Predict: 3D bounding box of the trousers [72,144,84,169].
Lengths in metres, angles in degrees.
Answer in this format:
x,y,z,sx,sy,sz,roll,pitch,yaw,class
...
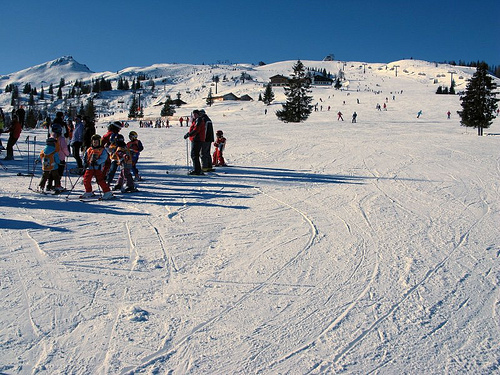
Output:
x,y,z,sx,sy,sz,roll,pitch,yaw,class
-5.663,-1.008,15.586,0.222,0.843,0.720,-3,-11,-1,trousers

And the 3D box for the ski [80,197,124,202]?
x,y,z,sx,sy,sz,roll,pitch,yaw,class
-3.336,0.295,10.642,0.865,0.034,0.249,-6,12,-32,ski

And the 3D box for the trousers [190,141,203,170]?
x,y,z,sx,sy,sz,roll,pitch,yaw,class
-1.653,-1.004,14.820,0.373,0.897,0.405,-2,10,-15,trousers

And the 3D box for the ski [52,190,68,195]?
x,y,z,sx,sy,sz,roll,pitch,yaw,class
-4.545,0.144,11.339,0.134,0.024,0.558,2,11,9,ski

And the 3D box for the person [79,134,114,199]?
x,y,z,sx,sy,sz,roll,pitch,yaw,class
-3.595,-0.478,10.965,0.748,1.415,0.939,-3,10,-21,person

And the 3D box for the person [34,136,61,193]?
x,y,z,sx,sy,sz,roll,pitch,yaw,class
-4.812,-0.585,11.378,0.559,1.337,0.431,4,21,-14,person

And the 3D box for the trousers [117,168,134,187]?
x,y,z,sx,sy,sz,roll,pitch,yaw,class
-3.136,-0.267,11.883,0.433,0.460,0.272,9,13,41,trousers

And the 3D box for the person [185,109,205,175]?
x,y,z,sx,sy,sz,roll,pitch,yaw,class
-1.710,-1.360,14.763,0.584,1.994,1.160,-1,9,-6,person

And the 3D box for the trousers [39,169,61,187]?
x,y,z,sx,sy,sz,roll,pitch,yaw,class
-4.826,-0.211,11.481,0.427,0.431,0.165,3,2,-38,trousers

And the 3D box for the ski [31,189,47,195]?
x,y,z,sx,sy,sz,roll,pitch,yaw,class
-4.927,0.113,11.180,0.545,0.067,0.109,8,13,38,ski
